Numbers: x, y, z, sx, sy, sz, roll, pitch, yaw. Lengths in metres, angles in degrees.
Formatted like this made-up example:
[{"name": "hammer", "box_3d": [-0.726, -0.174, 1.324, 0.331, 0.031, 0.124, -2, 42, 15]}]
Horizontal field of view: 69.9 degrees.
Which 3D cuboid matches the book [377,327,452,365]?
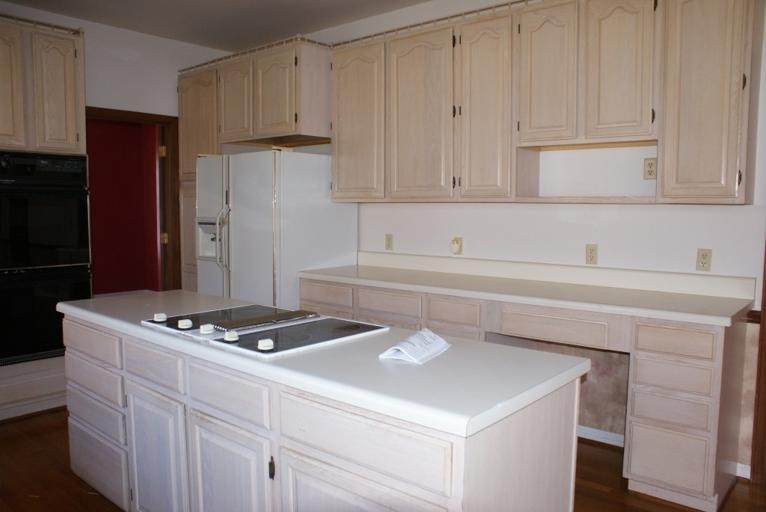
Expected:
[{"name": "book", "box_3d": [0.139, 0.414, 2.552, 0.244, 0.084, 0.322, -1, 8, 30]}]
